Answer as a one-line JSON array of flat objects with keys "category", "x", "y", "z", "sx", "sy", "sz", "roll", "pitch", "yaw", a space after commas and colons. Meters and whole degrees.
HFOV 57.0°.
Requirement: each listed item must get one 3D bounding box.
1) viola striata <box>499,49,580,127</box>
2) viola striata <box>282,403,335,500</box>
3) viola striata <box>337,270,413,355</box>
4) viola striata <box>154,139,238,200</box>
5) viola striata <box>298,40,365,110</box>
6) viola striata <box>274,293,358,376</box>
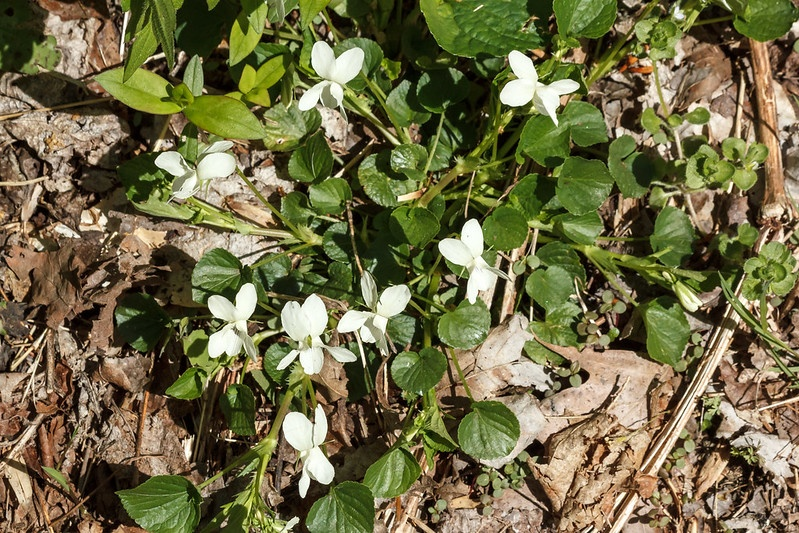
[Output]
[{"category": "viola striata", "x": 0.657, "y": -0.868, "z": 3.585, "sx": 0.369, "sy": 0.360, "sz": 0.113, "roll": -42, "pitch": 1, "yaw": -13}, {"category": "viola striata", "x": -0.465, "y": 0.912, "z": 3.710, "sx": 0.255, "sy": 0.459, "sz": 0.235, "roll": 2, "pitch": 15, "yaw": -13}, {"category": "viola striata", "x": -0.106, "y": 0.212, "z": 3.744, "sx": 0.103, "sy": 0.408, "sz": 0.332, "roll": -23, "pitch": -10, "yaw": 27}, {"category": "viola striata", "x": -1.042, "y": -0.498, "z": 3.775, "sx": 0.304, "sy": 0.139, "sz": 0.346, "roll": 8, "pitch": 50, "yaw": 24}, {"category": "viola striata", "x": -0.387, "y": -0.923, "z": 3.760, "sx": 0.162, "sy": 0.339, "sz": 0.466, "roll": 19, "pitch": 16, "yaw": -21}, {"category": "viola striata", "x": -0.470, "y": 0.343, "z": 3.625, "sx": 0.375, "sy": 0.406, "sz": 0.129, "roll": 1, "pitch": 12, "yaw": -1}]
